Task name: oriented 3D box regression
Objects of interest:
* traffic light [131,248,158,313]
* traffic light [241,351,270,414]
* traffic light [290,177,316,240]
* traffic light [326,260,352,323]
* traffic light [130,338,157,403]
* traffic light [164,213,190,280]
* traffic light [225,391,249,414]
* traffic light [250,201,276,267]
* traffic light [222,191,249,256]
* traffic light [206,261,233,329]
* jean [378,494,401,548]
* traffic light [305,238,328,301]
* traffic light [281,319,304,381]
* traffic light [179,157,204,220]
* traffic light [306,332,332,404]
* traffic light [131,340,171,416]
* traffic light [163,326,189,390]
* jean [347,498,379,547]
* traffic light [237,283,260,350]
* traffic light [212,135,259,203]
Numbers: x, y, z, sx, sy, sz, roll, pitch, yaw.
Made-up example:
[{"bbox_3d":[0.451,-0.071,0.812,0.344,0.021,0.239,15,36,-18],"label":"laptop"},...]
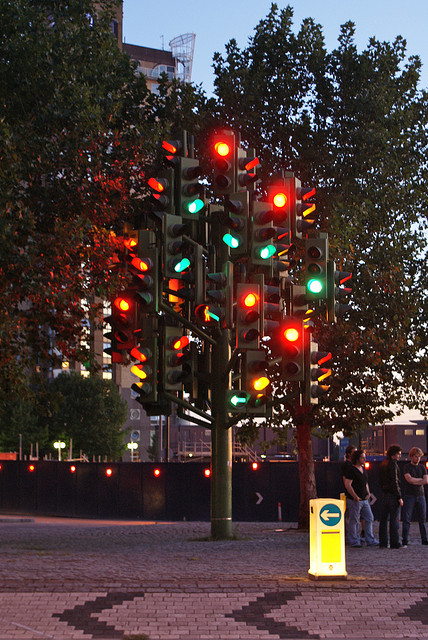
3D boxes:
[{"bbox_3d":[-0.882,-0.565,12.902,0.339,0.857,0.462,-5,-12,17],"label":"traffic light"},{"bbox_3d":[0.572,0.812,13.456,0.424,0.899,0.310,13,22,31],"label":"traffic light"},{"bbox_3d":[1.317,-1.711,14.910,0.345,1.060,0.635,-2,-12,6],"label":"traffic light"},{"bbox_3d":[1.724,-0.416,14.023,0.347,0.881,0.489,-3,-12,7],"label":"traffic light"},{"bbox_3d":[-0.905,0.611,13.044,0.344,0.854,0.449,0,-12,-6],"label":"traffic light"},{"bbox_3d":[-0.478,-0.999,13.247,0.320,0.943,0.529,-2,-12,4],"label":"traffic light"},{"bbox_3d":[0.284,1.188,14.281,0.356,0.385,0.130,-1,8,-25],"label":"traffic light"},{"bbox_3d":[0.646,-1.196,13.404,0.343,0.992,0.579,-2,-12,2],"label":"traffic light"},{"bbox_3d":[0.301,-1.368,13.682,0.335,1.001,0.639,-2,-12,3],"label":"traffic light"},{"bbox_3d":[0.085,-0.304,12.937,0.316,0.765,0.251,3,-14,-5],"label":"traffic light"},{"bbox_3d":[2.786,3.139,15.946,0.267,0.891,0.250,-3,-10,28],"label":"jean"},{"bbox_3d":[1.396,-0.755,13.782,0.292,0.898,0.422,-2,-12,6],"label":"traffic light"},{"bbox_3d":[1.057,0.386,13.481,0.298,0.792,0.208,-2,-11,5],"label":"traffic light"},{"bbox_3d":[-0.318,-1.901,14.067,0.324,1.178,1.077,-1,-12,-2],"label":"traffic light"},{"bbox_3d":[1.421,0.626,13.815,0.294,1.004,0.314,-1,-6,14],"label":"traffic light"},{"bbox_3d":[-0.829,0.722,13.404,0.500,0.982,1.192,-1,-13,-2],"label":"traffic light"},{"bbox_3d":[-0.506,0.476,13.304,0.320,0.893,0.517,-1,-12,-3],"label":"traffic light"},{"bbox_3d":[2.418,3.206,16.325,0.419,1.040,0.287,0,-48,8],"label":"jean"},{"bbox_3d":[0.475,-0.068,12.638,0.388,0.815,0.269,7,-14,-34],"label":"traffic light"},{"bbox_3d":[0.300,-2.200,14.342,0.612,0.976,0.542,1,-12,-13],"label":"traffic light"}]
